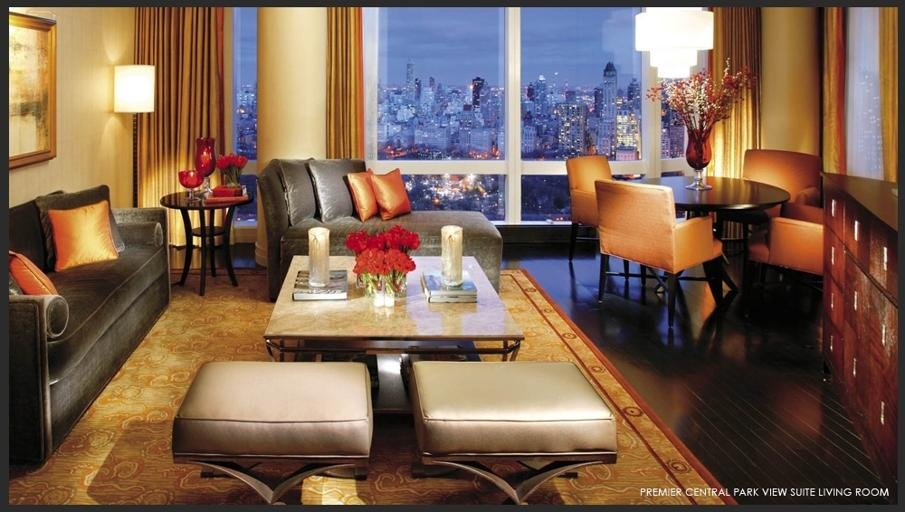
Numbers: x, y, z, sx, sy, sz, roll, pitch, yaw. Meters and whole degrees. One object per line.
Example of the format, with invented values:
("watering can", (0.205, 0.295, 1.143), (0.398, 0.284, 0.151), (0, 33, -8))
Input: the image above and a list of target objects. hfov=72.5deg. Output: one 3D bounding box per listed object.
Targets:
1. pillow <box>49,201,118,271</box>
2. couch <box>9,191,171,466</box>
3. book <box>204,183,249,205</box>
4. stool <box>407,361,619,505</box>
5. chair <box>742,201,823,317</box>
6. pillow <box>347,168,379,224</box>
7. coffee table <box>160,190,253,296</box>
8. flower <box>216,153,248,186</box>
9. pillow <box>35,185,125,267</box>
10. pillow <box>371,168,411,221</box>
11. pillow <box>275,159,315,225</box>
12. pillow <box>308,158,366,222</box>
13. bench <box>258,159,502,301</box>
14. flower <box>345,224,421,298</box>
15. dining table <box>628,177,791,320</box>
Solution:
("pillow", (-3.178, -0.169, 5.314), (0.180, 0.525, 0.611), (-16, -1, 41))
("couch", (-2.713, 0.567, 4.575), (0.581, 0.804, 1.868), (-1, 17, -13))
("book", (-2.404, -0.653, 6.596), (0.441, 0.155, 0.431), (-8, 14, -18))
("stool", (0.364, 0.935, 3.538), (1.309, 0.579, 0.836), (0, 17, -2))
("chair", (3.303, -0.013, 6.131), (0.664, 0.918, 1.396), (4, 16, 29))
("pillow", (-0.970, -0.696, 6.890), (0.302, 0.508, 0.630), (14, 19, 8))
("coffee table", (-2.781, -0.135, 6.886), (1.012, 1.016, 1.029), (14, 17, 34))
("flower", (-2.443, -0.957, 6.865), (0.272, 0.328, 0.328), (-11, 16, -24))
("pillow", (-3.300, -0.292, 5.367), (0.236, 0.704, 0.790), (-16, 1, 33))
("pillow", (-0.692, -0.705, 6.938), (0.315, 0.507, 0.599), (15, 22, 18))
("pillow", (-1.600, -0.674, 6.428), (0.190, 0.584, 0.615), (-17, -3, 22))
("pillow", (-1.284, -0.725, 6.665), (0.222, 0.622, 0.748), (-15, -2, 36))
("bench", (-0.782, -0.399, 6.665), (2.086, 1.073, 1.716), (0, 9, -5))
("flower", (-0.488, 0.019, 4.732), (0.584, 0.502, 0.530), (0, 9, -1))
("dining table", (2.542, -0.098, 6.407), (1.498, 0.862, 1.500), (7, 16, 32))
